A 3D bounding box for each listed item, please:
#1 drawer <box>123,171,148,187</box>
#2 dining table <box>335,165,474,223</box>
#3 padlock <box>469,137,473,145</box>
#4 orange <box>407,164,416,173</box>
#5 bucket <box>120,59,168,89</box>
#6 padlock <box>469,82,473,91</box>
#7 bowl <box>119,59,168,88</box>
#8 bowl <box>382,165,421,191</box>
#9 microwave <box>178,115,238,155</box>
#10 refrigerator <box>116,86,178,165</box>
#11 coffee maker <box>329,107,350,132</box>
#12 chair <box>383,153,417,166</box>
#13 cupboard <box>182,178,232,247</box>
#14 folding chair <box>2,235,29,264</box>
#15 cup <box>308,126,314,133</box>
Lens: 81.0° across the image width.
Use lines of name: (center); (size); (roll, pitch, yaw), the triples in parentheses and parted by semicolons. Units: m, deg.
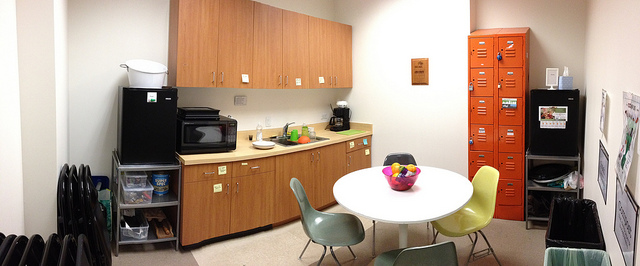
drawer: (-3.247, 0.808, 6.609); (0.338, 0.273, 0.169); (-6, 7, -25)
dining table: (1.341, 0.994, 6.106); (2.204, 0.582, 1.147); (-3, 6, 1)
padlock: (2.964, 0.156, 7.394); (0.062, 0.149, 0.035); (-3, 7, 17)
orange: (1.477, 0.571, 6.111); (0.124, 0.095, 0.118); (5, 0, 41)
bucket: (-3.033, -0.983, 6.661); (0.552, 0.532, 0.695); (4, -2, -44)
padlock: (2.935, -0.908, 7.316); (0.067, 0.160, 0.026); (-4, 7, 7)
bowl: (-3.013, -1.040, 6.542); (0.631, 0.503, 0.208); (-5, 7, -14)
bowl: (1.313, 0.760, 6.156); (0.576, 0.356, 0.370); (-1, 7, 19)
microwave: (-2.045, 0.059, 6.760); (1.108, 0.498, 0.726); (-1, 2, -28)
refrigerator: (-3.078, -0.129, 6.806); (1.001, 1.358, 1.090); (2, -2, -28)
coffee maker: (0.418, -0.312, 8.377); (0.462, 0.532, 0.257); (-4, 7, 3)
chair: (1.480, 0.490, 7.003); (0.403, 0.369, 0.325); (0, -7, -2)
cupboard: (-2.020, 1.398, 6.808); (0.739, 1.074, 0.903); (0, 0, 26)
folding chair: (-4.044, 1.571, 5.006); (0.113, 0.315, 0.193); (11, -22, 11)
cup: (-0.196, -0.080, 7.977); (0.102, 0.098, 0.172); (5, 4, 29)
